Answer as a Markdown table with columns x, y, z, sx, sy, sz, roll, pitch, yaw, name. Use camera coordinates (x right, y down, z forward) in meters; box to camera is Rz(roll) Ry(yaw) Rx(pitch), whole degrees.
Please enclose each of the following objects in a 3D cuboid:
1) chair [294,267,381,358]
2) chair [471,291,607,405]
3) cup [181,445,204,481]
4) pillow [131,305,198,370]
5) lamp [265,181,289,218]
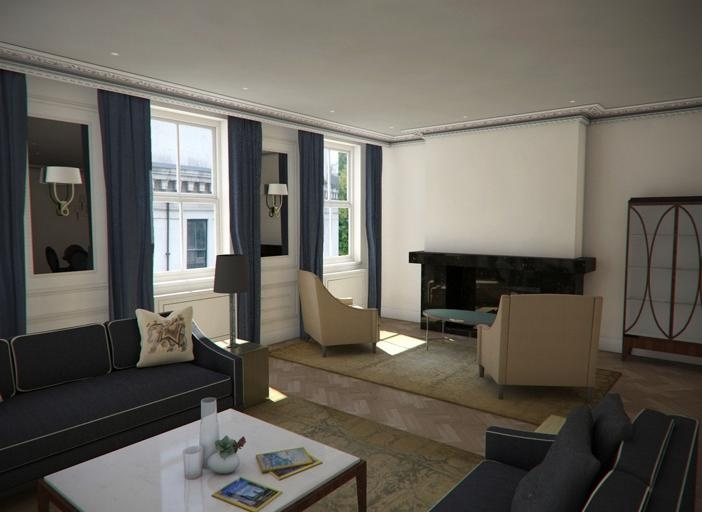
| x | y | z | sx | sy | sz | roll | pitch | yaw | name |
| --- | --- | --- | --- | --- | --- | --- | --- | --- | --- |
| -0.159 | 0.626 | 6.421 | 1.030 | 1.206 | 1.084 | -2 | 5 | -24 | chair |
| 1.944 | 0.920 | 5.092 | 0.968 | 1.150 | 1.110 | 0 | -1 | 8 | chair |
| -0.975 | 1.240 | 2.877 | 0.132 | 0.194 | 0.107 | -1 | 8 | -6 | cup |
| -1.731 | 0.786 | 4.379 | 0.492 | 0.503 | 0.187 | 2 | -13 | -38 | pillow |
| -1.021 | -0.756 | 6.495 | 0.317 | 0.477 | 0.541 | -1 | 8 | -8 | lamp |
